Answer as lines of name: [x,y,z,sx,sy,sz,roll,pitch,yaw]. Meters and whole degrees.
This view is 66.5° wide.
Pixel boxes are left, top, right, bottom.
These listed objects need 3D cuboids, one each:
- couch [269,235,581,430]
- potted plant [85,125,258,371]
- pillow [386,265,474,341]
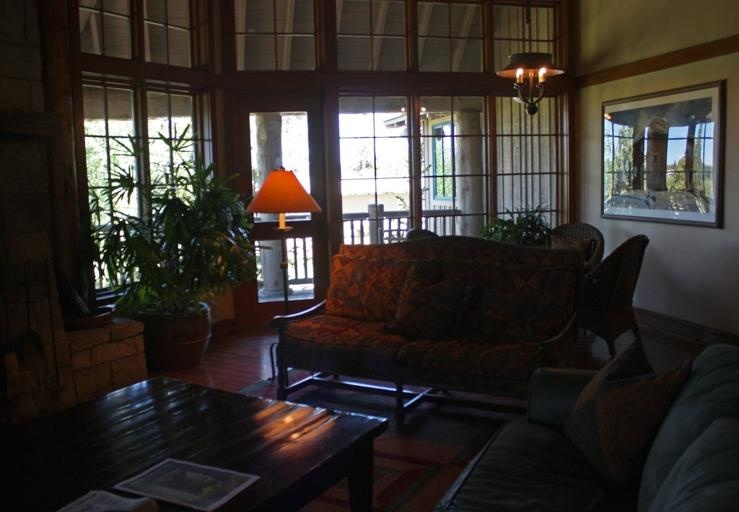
couch: [0.414,0.503,4.160,2.117,1.364,0.928,1,1,33]
potted plant: [-1.906,0.012,5.228,1.418,1.947,1.271,-11,9,-39]
pillow: [0.474,0.316,4.115,0.565,0.486,0.442,0,9,21]
